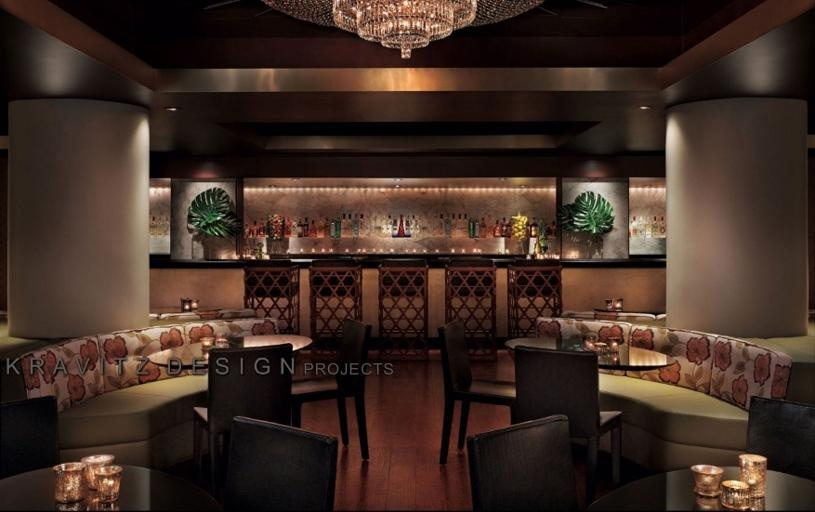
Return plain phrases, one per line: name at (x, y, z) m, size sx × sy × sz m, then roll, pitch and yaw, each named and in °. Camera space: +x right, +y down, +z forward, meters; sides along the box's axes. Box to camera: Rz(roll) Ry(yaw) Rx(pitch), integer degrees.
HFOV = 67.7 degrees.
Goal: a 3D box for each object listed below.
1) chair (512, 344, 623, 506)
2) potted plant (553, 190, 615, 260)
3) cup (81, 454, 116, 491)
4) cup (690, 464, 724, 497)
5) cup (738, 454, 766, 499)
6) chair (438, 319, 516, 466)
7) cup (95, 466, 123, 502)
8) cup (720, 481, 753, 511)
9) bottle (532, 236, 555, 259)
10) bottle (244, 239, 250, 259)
chair at (1.203, 1.272, 4.662) m, size 0.846 × 1.144 × 0.850 m, roll 3°, pitch -6°, yaw -5°
potted plant at (2.827, -0.516, 9.789) m, size 0.975 × 1.047 × 0.382 m, roll 18°, pitch 2°, yaw -1°
cup at (-1.729, 1.224, 3.392) m, size 0.179 × 0.156 × 0.190 m, roll -4°, pitch -22°, yaw -2°
cup at (1.629, 1.222, 3.295) m, size 0.169 × 0.129 × 0.171 m, roll -3°, pitch -4°, yaw 0°
cup at (1.913, 1.217, 3.368) m, size 0.147 × 0.213 × 0.140 m, roll 2°, pitch -4°, yaw 0°
chair at (0.681, 1.222, 5.314) m, size 0.850 × 1.191 × 0.842 m, roll 1°, pitch 0°, yaw -5°
cup at (-1.598, 1.227, 3.323) m, size 0.171 × 0.181 × 0.157 m, roll 0°, pitch -4°, yaw 0°
cup at (1.748, 1.270, 3.228) m, size 0.142 × 0.105 × 0.138 m, roll 0°, pitch -2°, yaw 0°
bottle at (2.215, -0.161, 9.791) m, size 0.370 × 0.280 × 0.663 m, roll 4°, pitch 13°, yaw 13°
bottle at (-2.596, -0.126, 9.820) m, size 0.127 × 0.230 × 0.220 m, roll -3°, pitch 13°, yaw -16°
